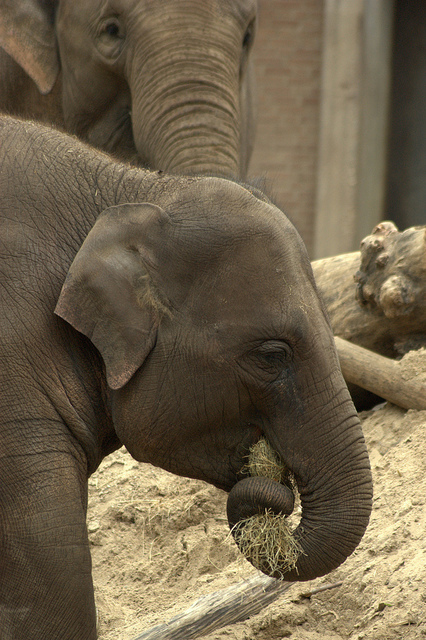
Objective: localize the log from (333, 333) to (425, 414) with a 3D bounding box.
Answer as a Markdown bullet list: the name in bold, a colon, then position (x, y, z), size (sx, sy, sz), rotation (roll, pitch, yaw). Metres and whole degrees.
- **log**: position (0.663, 0.213, 3.288), size (0.328, 0.326, 0.098), rotation (12, 54, 45)
